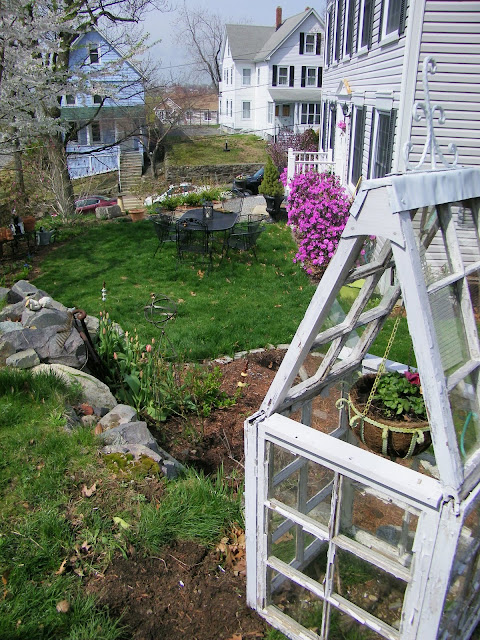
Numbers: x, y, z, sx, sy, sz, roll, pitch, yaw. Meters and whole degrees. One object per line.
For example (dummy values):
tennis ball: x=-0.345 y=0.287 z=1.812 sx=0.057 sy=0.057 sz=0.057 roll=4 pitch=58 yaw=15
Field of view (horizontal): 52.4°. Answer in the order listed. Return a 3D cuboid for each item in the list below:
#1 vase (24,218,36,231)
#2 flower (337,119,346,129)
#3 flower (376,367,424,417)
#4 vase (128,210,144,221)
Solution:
vase: x=-5.839 y=-2.720 z=13.694 sx=0.280 sy=0.321 sz=0.504 roll=-1 pitch=19 yaw=6
flower: x=2.655 y=-5.177 z=12.749 sx=0.119 sy=0.284 sz=0.277 roll=4 pitch=-3 yaw=-33
flower: x=0.744 y=0.344 z=2.276 sx=0.197 sy=0.201 sz=0.058 roll=0 pitch=-24 yaw=25
vase: x=-3.195 y=-3.282 z=15.182 sx=0.427 sy=0.377 sz=0.469 roll=3 pitch=17 yaw=27
